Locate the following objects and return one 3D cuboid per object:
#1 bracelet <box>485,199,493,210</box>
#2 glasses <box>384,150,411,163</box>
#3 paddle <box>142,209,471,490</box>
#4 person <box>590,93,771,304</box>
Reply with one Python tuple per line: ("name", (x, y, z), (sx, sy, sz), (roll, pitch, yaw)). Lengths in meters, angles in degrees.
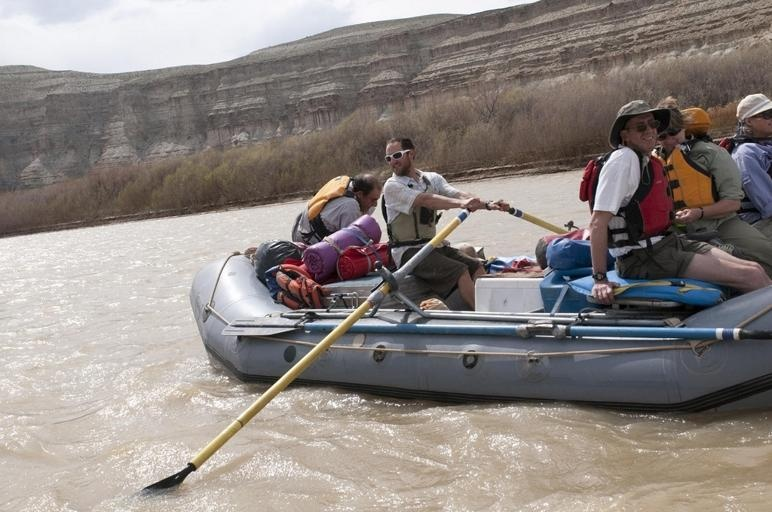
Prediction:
("bracelet", (1.049, -0.522, 9.306), (0.067, 0.084, 0.080), (0, 11, 2))
("glasses", (0.118, -1.047, 9.589), (0.288, 0.127, 0.184), (-6, 10, 12))
("paddle", (-0.666, 0.884, 8.508), (3.909, 0.279, 0.575), (-40, 27, -25))
("person", (2.422, -0.491, 8.092), (1.331, 1.768, 0.576), (-7, 12, 10))
